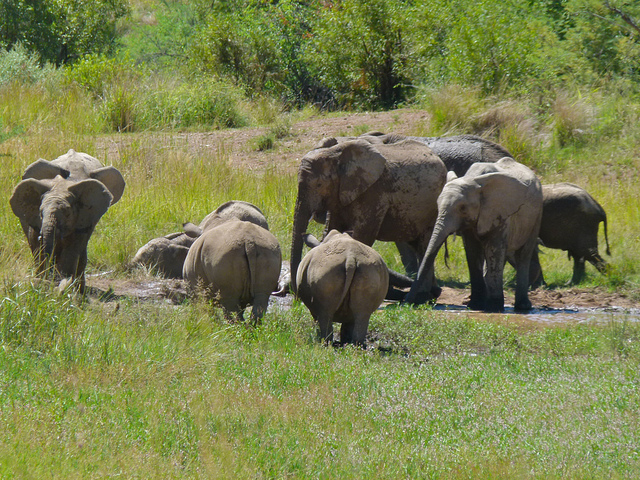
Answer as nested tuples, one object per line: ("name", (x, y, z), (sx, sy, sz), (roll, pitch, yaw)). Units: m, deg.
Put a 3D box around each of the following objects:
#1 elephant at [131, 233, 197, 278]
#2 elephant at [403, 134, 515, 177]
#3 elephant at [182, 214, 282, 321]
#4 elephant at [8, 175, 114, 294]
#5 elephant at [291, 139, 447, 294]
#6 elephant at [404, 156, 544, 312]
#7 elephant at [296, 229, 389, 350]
("elephant", (-2.087, 0.167, 13.982), (0.638, 0.709, 1.088), (-6, 3, 41))
("elephant", (2.162, -1.356, 14.958), (1.436, 0.917, 0.714), (7, 11, 21))
("elephant", (-1.172, 0.281, 11.626), (0.986, 1.345, 2.046), (-5, 12, -22))
("elephant", (-3.163, -0.188, 11.913), (0.883, 1.156, 1.404), (0, -4, 0))
("elephant", (0.747, -0.269, 13.834), (2.424, 2.261, 1.229), (1, -2, -18))
("elephant", (2.259, -0.068, 13.439), (2.284, 2.127, 1.216), (2, 1, -34))
("elephant", (0.201, 0.415, 11.920), (1.007, 1.441, 2.347), (1, 13, -7))
